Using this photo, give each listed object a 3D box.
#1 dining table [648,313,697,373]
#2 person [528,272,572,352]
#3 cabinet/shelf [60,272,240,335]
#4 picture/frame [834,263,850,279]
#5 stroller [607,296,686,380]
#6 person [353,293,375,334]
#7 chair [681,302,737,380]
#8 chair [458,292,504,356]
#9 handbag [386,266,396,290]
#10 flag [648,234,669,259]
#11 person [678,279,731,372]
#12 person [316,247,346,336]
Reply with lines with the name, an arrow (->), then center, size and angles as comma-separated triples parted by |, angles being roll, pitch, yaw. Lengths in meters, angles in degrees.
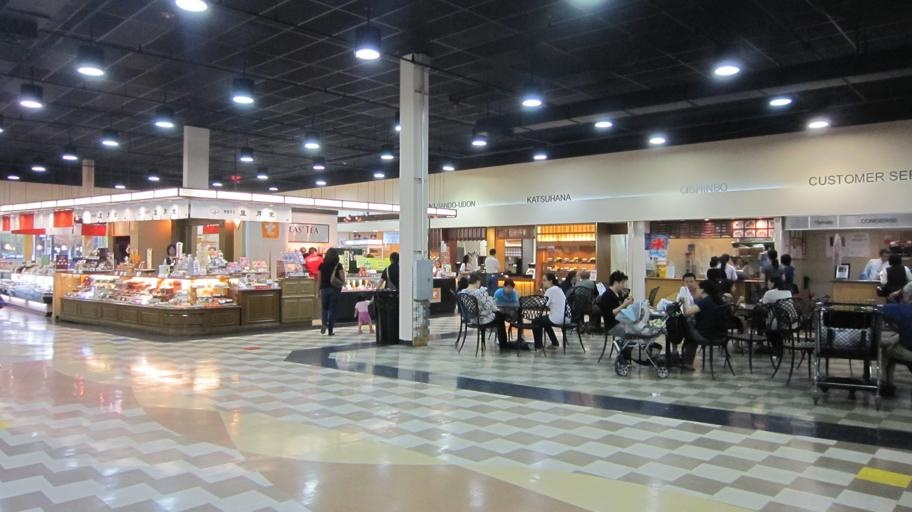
dining table -> 4.591, 1.657, 12.042 | 0.982, 0.971, 0.945 | 12, 2, -27
person -> 2.126, 1.224, 13.494 | 0.748, 1.739, 0.933 | 1, 4, 9
cabinet/shelf -> -8.068, 1.215, 15.659 | 5.056, 1.446, 1.161 | 2, 5, 24
picture/frame -> 10.346, 0.418, 16.135 | 0.435, 0.496, 0.317 | -4, -13, 40
stroller -> 3.726, 1.596, 11.846 | 1.388, 1.281, 0.980 | 0, -3, 19
person -> -2.371, 1.506, 15.849 | 0.433, 0.886, 1.350 | 0, 4, -8
chair -> 4.928, 1.631, 11.710 | 0.725, 0.779, 0.639 | -2, -12, -44
chair -> 0.597, 1.424, 13.311 | 1.121, 1.330, 0.610 | -2, 5, -30
handbag -> -1.579, 0.526, 14.860 | 0.386, 0.505, 0.171 | 5, 6, 43
flag -> 6.083, -0.297, 18.110 | 0.558, 0.455, 0.659 | 5, 31, -3
person -> 4.847, 1.356, 11.744 | 0.768, 1.767, 0.728 | 2, 5, 18
person -> -3.105, 0.880, 15.152 | 0.612, 2.158, 0.710 | 0, 4, -11
